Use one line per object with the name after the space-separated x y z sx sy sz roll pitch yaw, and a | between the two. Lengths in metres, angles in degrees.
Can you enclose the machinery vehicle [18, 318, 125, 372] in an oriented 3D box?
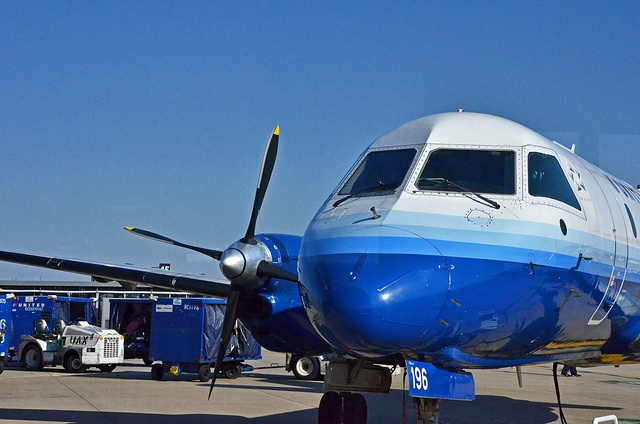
-9.049 4.813 26.151 3.366 1.504 2.025 -4 -7 25 | machinery vehicle
